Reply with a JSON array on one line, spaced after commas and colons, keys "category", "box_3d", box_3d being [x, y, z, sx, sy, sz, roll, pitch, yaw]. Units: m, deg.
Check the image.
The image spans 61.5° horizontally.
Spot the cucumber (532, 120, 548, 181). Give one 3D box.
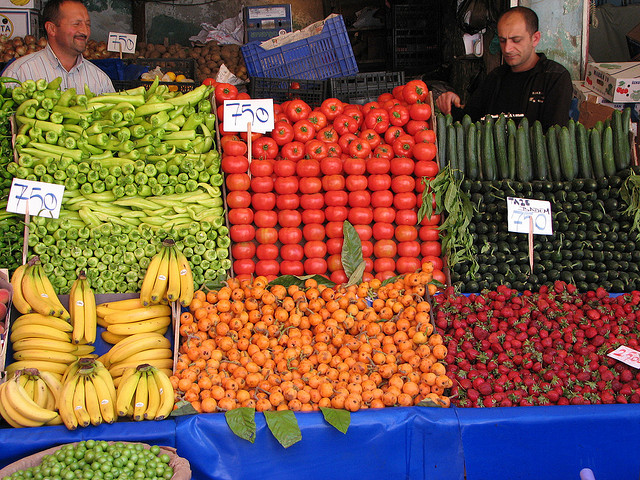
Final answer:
[{"category": "cucumber", "box_3d": [1.941, -0.792, 4.758, 0.092, 0.528, 0.129, -3, -1, 20]}]

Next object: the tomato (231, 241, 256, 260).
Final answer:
[{"category": "tomato", "box_3d": [-0.624, 0.085, 4.435, 0.183, 0.121, 0.131, 0, -4, -26]}]

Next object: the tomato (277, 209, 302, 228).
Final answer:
[{"category": "tomato", "box_3d": [-0.250, -0.185, 4.496, 0.184, 0.171, 0.139, 0, 7, 1]}]

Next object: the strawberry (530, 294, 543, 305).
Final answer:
[{"category": "strawberry", "box_3d": [1.719, 0.462, 4.230, 0.060, 0.026, 0.064, -10, 11, 21]}]

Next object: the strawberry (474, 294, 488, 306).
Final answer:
[{"category": "strawberry", "box_3d": [1.265, 0.467, 4.202, 0.068, 0.089, 0.072, 0, 1, 11]}]

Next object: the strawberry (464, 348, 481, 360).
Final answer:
[{"category": "strawberry", "box_3d": [1.096, 0.823, 3.875, 0.080, 0.049, 0.065, -1, 17, 22]}]

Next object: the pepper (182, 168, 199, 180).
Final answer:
[{"category": "pepper", "box_3d": [-1.057, -0.546, 4.396, 0.075, 0.084, 0.085, -1, -39, 30]}]

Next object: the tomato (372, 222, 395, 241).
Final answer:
[{"category": "tomato", "box_3d": [0.541, -0.078, 4.555, 0.153, 0.161, 0.156, 0, 9, 2]}]

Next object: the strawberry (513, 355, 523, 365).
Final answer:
[{"category": "strawberry", "box_3d": [1.416, 0.851, 3.827, 0.059, 0.059, 0.061, -2, 1, -3]}]

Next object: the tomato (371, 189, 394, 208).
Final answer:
[{"category": "tomato", "box_3d": [0.539, -0.355, 4.559, 0.181, 0.169, 0.134, -2, 30, 1]}]

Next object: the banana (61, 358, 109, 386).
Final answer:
[{"category": "banana", "box_3d": [-1.523, 0.853, 3.461, 0.064, 0.189, 0.194, 42, 28, 10]}]

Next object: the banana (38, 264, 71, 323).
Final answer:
[{"category": "banana", "box_3d": [-1.954, 0.396, 3.928, 0.084, 0.411, 0.133, -19, -17, -47]}]

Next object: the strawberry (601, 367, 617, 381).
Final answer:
[{"category": "strawberry", "box_3d": [2.032, 0.931, 3.783, 0.093, 0.085, 0.076, -30, 30, -22]}]

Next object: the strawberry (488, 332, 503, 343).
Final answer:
[{"category": "strawberry", "box_3d": [1.282, 0.713, 3.932, 0.094, 0.046, 0.082, -15, 20, -41]}]

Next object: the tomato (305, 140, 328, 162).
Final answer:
[{"category": "tomato", "box_3d": [-0.029, -0.763, 4.574, 0.161, 0.176, 0.170, 5, -7, 1]}]

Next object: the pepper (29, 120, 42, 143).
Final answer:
[{"category": "pepper", "box_3d": [-2.256, -0.842, 4.260, 0.094, 0.125, 0.052, -8, 15, -24]}]

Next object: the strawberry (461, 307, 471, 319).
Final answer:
[{"category": "strawberry", "box_3d": [1.125, 0.550, 4.111, 0.062, 0.069, 0.079, -5, 21, 8]}]

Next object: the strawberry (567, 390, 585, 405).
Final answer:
[{"category": "strawberry", "box_3d": [1.736, 1.069, 3.633, 0.077, 0.095, 0.076, -2, 14, 44]}]

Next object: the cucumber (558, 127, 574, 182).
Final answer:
[{"category": "cucumber", "box_3d": [2.166, -0.755, 4.717, 0.112, 0.446, 0.172, -2, 13, -1]}]

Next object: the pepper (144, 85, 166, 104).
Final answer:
[{"category": "pepper", "box_3d": [-1.380, -1.219, 4.508, 0.076, 0.207, 0.075, 47, 20, 25]}]

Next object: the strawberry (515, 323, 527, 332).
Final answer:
[{"category": "strawberry", "box_3d": [1.501, 0.644, 3.996, 0.061, 0.037, 0.049, 13, 10, 9]}]

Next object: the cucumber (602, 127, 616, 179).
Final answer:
[{"category": "cucumber", "box_3d": [2.506, -0.764, 4.732, 0.101, 0.453, 0.137, -2, -9, 2]}]

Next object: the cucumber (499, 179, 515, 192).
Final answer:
[{"category": "cucumber", "box_3d": [1.597, -0.466, 4.566, 0.119, 0.092, 0.085, 1, 14, 12]}]

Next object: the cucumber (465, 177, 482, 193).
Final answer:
[{"category": "cucumber", "box_3d": [1.327, -0.472, 4.601, 0.130, 0.110, 0.111, 3, 15, 19]}]

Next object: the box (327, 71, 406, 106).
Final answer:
[{"category": "box", "box_3d": [0.453, -1.553, 5.422, 0.542, 0.255, 0.403, -3, 18, -2]}]

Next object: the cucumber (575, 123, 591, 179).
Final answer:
[{"category": "cucumber", "box_3d": [2.331, -0.790, 4.736, 0.121, 0.460, 0.245, 1, 14, 12]}]

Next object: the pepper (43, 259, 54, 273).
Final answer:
[{"category": "pepper", "box_3d": [-2.085, 0.201, 4.103, 0.055, 0.076, 0.030, -9, -3, -18]}]

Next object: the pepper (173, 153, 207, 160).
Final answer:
[{"category": "pepper", "box_3d": [-1.073, -0.699, 4.455, 0.232, 0.066, 0.059, 4, -11, -3]}]

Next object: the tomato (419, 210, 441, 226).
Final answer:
[{"category": "tomato", "box_3d": [0.966, -0.185, 4.664, 0.121, 0.122, 0.128, -1, 11, 7]}]

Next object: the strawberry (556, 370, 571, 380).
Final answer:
[{"category": "strawberry", "box_3d": [1.704, 0.933, 3.747, 0.064, 0.060, 0.065, -6, 7, -16]}]

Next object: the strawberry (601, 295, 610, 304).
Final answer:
[{"category": "strawberry", "box_3d": [2.310, 0.472, 4.310, 0.102, 0.052, 0.058, -13, 18, -38]}]

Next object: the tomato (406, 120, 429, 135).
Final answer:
[{"category": "tomato", "box_3d": [0.875, -1.019, 4.795, 0.138, 0.137, 0.143, -5, 9, 3]}]

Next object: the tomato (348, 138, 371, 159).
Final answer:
[{"category": "tomato", "box_3d": [0.348, -0.800, 4.628, 0.158, 0.173, 0.166, 0, 16, 2]}]

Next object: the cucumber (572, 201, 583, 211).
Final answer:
[{"category": "cucumber", "box_3d": [2.212, -0.293, 4.597, 0.085, 0.073, 0.035, -4, 14, -8]}]

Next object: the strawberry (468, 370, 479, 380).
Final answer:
[{"category": "strawberry", "box_3d": [1.076, 0.941, 3.757, 0.053, 0.058, 0.056, -2, 5, 11]}]

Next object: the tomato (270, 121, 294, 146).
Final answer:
[{"category": "tomato", "box_3d": [-0.323, -0.933, 4.676, 0.184, 0.197, 0.185, -11, 2, 1]}]

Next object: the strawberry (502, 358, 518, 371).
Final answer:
[{"category": "strawberry", "box_3d": [1.362, 0.885, 3.814, 0.118, 0.076, 0.052, -10, 16, -29]}]

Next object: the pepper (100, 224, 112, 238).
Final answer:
[{"category": "pepper", "box_3d": [-1.681, -0.072, 4.217, 0.079, 0.090, 0.083, 8, 15, 41]}]

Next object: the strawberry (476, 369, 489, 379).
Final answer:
[{"category": "strawberry", "box_3d": [1.144, 0.936, 3.768, 0.059, 0.051, 0.047, 4, 7, 33]}]

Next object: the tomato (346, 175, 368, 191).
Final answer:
[{"category": "tomato", "box_3d": [0.324, -0.487, 4.559, 0.163, 0.152, 0.121, 2, -21, -7]}]

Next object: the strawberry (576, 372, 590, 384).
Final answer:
[{"category": "strawberry", "box_3d": [1.833, 0.948, 3.723, 0.067, 0.074, 0.069, -2, 4, 7]}]

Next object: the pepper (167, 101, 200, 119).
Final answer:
[{"category": "pepper", "box_3d": [-1.152, -1.094, 4.506, 0.214, 0.063, 0.059, -25, 12, -13]}]

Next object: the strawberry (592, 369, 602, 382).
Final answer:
[{"category": "strawberry", "box_3d": [1.943, 0.949, 3.770, 0.057, 0.063, 0.050, 1, -2, -26]}]

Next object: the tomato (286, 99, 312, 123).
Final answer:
[{"category": "tomato", "box_3d": [-0.194, -1.145, 4.850, 0.182, 0.196, 0.189, -6, -6, -3]}]

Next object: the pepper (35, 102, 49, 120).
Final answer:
[{"category": "pepper", "box_3d": [-2.209, -1.017, 4.276, 0.085, 0.090, 0.114, 39, -20, -5]}]

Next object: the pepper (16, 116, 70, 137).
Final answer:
[{"category": "pepper", "box_3d": [-2.211, -0.913, 4.290, 0.291, 0.066, 0.069, 21, 25, 0]}]

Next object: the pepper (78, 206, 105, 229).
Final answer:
[{"category": "pepper", "box_3d": [-1.808, -0.181, 4.265, 0.098, 0.204, 0.066, -44, 13, 11]}]

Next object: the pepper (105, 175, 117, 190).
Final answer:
[{"category": "pepper", "box_3d": [-1.630, -0.466, 4.264, 0.085, 0.091, 0.123, 9, 6, 4]}]

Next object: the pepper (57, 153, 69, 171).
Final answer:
[{"category": "pepper", "box_3d": [-2.016, -0.601, 4.210, 0.082, 0.124, 0.088, -4, 21, 1]}]

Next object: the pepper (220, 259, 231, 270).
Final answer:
[{"category": "pepper", "box_3d": [-0.760, 0.195, 4.323, 0.074, 0.080, 0.049, -4, 1, -12]}]

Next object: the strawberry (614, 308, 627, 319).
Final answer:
[{"category": "strawberry", "box_3d": [2.338, 0.563, 4.168, 0.077, 0.061, 0.040, 42, 5, 2]}]

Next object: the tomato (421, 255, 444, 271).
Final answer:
[{"category": "tomato", "box_3d": [0.963, 0.180, 4.529, 0.127, 0.135, 0.130, -5, -1, -6]}]

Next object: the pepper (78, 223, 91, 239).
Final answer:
[{"category": "pepper", "box_3d": [-1.855, -0.075, 4.224, 0.063, 0.063, 0.086, -36, -13, -23]}]

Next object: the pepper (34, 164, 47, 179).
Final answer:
[{"category": "pepper", "box_3d": [-2.193, -0.545, 4.233, 0.082, 0.090, 0.078, 7, -11, -3]}]

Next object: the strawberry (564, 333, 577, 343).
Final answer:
[{"category": "strawberry", "box_3d": [1.829, 0.713, 3.924, 0.060, 0.073, 0.075, 25, 19, 39]}]

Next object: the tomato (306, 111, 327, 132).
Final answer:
[{"category": "tomato", "box_3d": [-0.028, -1.046, 4.839, 0.158, 0.175, 0.167, 10, 0, -2]}]

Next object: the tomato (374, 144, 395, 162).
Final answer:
[{"category": "tomato", "box_3d": [0.574, -0.758, 4.667, 0.135, 0.147, 0.143, 5, 4, 2]}]

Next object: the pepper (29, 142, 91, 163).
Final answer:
[{"category": "pepper", "box_3d": [-2.085, -0.699, 4.255, 0.311, 0.074, 0.074, 14, -27, -11]}]

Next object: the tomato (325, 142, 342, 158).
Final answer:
[{"category": "tomato", "box_3d": [0.122, -0.780, 4.632, 0.123, 0.135, 0.129, -3, -14, 0]}]
